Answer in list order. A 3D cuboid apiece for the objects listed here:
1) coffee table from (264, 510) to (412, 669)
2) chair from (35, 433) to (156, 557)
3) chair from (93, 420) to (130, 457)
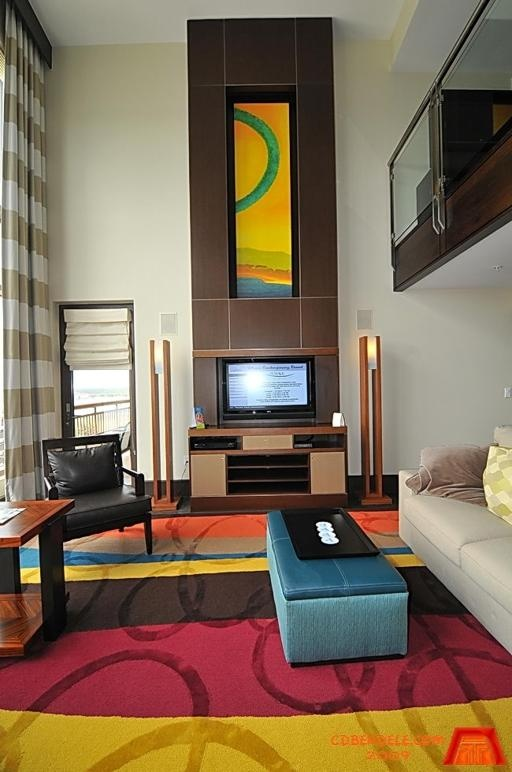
[{"bbox_3d":[0.381,0.990,2.717,0.585,0.390,0.635,-2,7,-6],"label":"coffee table"},{"bbox_3d":[-1.095,0.671,3.755,0.653,0.929,0.781,-1,-4,-30],"label":"chair"},{"bbox_3d":[-1.291,0.482,5.122,0.306,0.196,0.411,0,-5,-7],"label":"chair"}]
